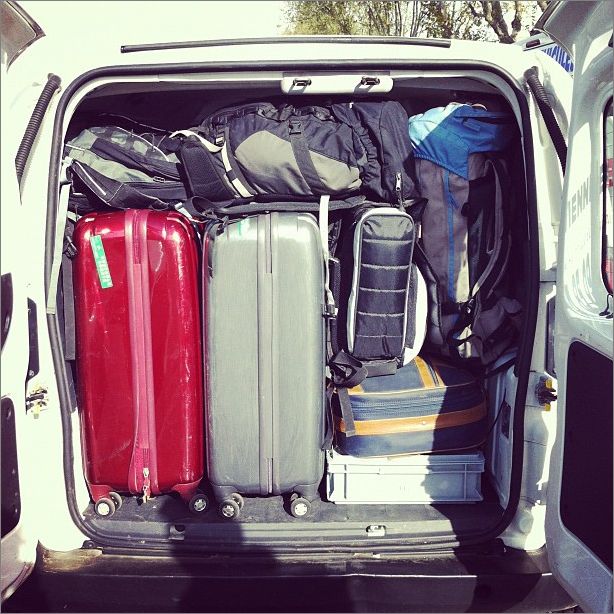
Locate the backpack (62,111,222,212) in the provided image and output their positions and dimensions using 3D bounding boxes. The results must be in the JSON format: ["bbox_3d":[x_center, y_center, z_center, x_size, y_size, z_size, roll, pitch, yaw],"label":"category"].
[{"bbox_3d":[-0.594,-0.471,2.610,0.365,0.389,0.167,3,-23,-7],"label":"backpack"}]

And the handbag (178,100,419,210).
[{"bbox_3d":[-0.010,-0.542,2.624,0.564,0.482,0.250,-2,-39,0],"label":"handbag"}]

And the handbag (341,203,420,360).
[{"bbox_3d":[0.264,-0.160,2.771,0.208,0.682,0.385,2,30,4],"label":"handbag"}]
